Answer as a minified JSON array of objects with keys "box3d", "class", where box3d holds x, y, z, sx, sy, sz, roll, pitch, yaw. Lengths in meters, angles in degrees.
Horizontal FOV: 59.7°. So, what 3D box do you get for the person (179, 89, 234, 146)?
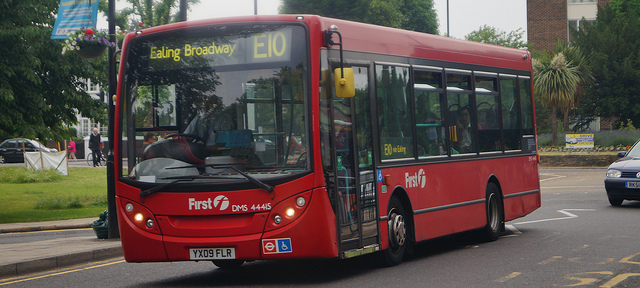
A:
[{"box3d":[-3.214,-0.725,16.080,1.804,1.367,0.558,1,5,19],"class":"person"}]
